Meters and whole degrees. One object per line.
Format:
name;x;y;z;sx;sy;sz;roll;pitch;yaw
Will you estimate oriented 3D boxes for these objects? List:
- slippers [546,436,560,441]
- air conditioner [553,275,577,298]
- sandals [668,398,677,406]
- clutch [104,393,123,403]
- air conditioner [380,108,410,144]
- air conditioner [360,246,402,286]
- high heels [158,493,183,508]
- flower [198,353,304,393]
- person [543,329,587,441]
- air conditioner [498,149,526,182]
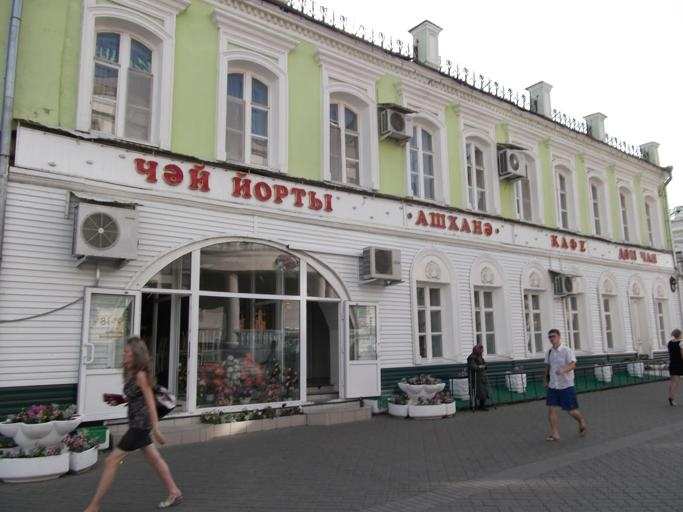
slippers;4.140;3.580;10.442;0.247;0.080;0.236;-7;-12;21
air conditioner;8.100;1.123;19.455;1.123;1.086;0.631;4;-6;-41
sandals;8.788;3.889;14.186;0.155;0.210;0.514;-4;-11;44
clutch;-3.119;1.935;7.254;0.285;0.176;0.108;3;-12;-7
air conditioner;1.770;-3.870;15.493;0.310;0.890;0.911;-29;40;-34
air conditioner;1.012;0.226;14.147;1.110;0.858;0.531;-3;-11;0
high heels;-2.325;3.329;7.215;0.295;0.084;0.143;-8;-4;-34
flower;-2.170;2.788;12.577;2.022;0.952;1.196;6;-5;-26
person;4.389;2.537;10.992;1.041;2.178;0.696;2;-4;-25
air conditioner;5.920;-3.215;18.633;0.978;1.105;0.562;7;-14;-41
